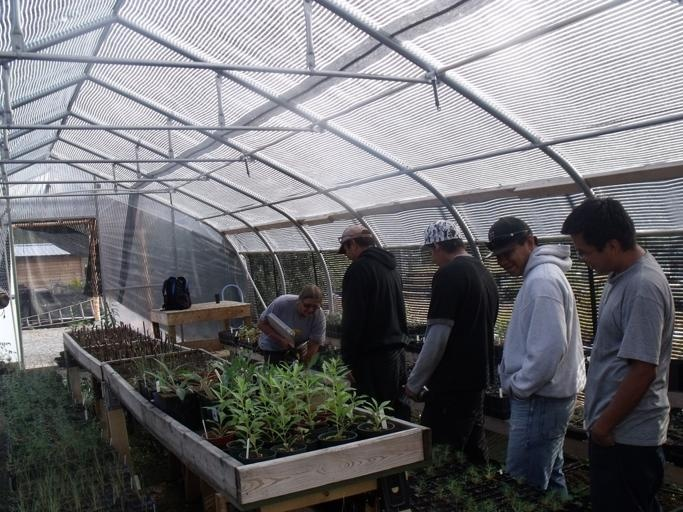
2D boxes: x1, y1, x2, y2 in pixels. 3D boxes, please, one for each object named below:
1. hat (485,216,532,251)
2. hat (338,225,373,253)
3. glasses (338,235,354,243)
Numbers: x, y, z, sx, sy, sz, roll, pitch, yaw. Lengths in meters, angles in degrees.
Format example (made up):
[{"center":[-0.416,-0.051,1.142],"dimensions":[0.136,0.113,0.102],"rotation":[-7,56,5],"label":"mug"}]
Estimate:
[{"center":[1.248,-0.164,3.572],"dimensions":[0.236,0.175,0.314],"rotation":[-25,-2,-2],"label":"hat"},{"center":[0.099,-0.183,4.931],"dimensions":[0.370,0.201,0.275],"rotation":[-6,-2,40],"label":"hat"},{"center":[0.056,-0.187,4.882],"dimensions":[0.154,0.073,0.112],"rotation":[-3,6,15],"label":"glasses"}]
